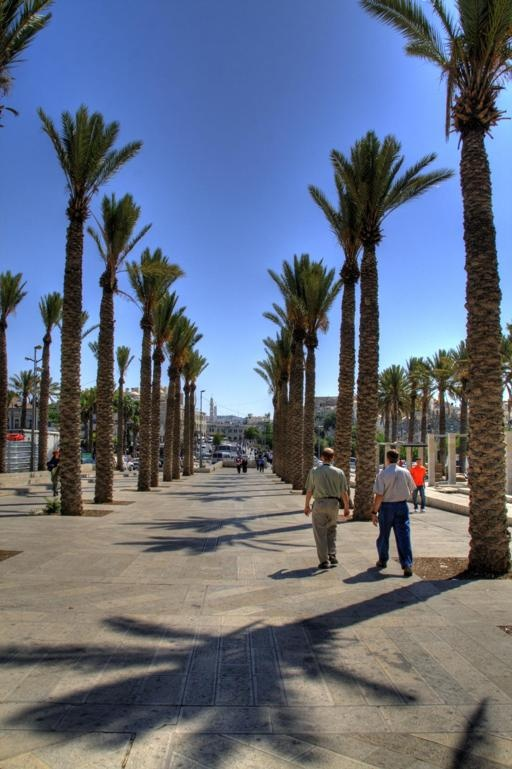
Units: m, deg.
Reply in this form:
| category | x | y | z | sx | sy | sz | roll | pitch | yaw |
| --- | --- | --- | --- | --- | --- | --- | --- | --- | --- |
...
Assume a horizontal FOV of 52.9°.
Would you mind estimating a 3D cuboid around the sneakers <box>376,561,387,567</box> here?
| category | x | y | z | sx | sy | sz | roll | pitch | yaw |
| --- | --- | --- | --- | --- | --- | --- | --- | --- | --- |
| sneakers | 1.662 | 2.389 | 6.835 | 0.085 | 0.055 | 0.128 | 1 | -11 | 2 |

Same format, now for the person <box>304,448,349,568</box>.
| category | x | y | z | sx | sy | sz | roll | pitch | yaw |
| --- | --- | --- | --- | --- | --- | --- | --- | --- | --- |
| person | 0.933 | 1.647 | 6.795 | 0.534 | 1.538 | 0.541 | -1 | -6 | 6 |

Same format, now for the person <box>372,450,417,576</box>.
| category | x | y | z | sx | sy | sz | roll | pitch | yaw |
| --- | --- | --- | --- | --- | --- | --- | --- | --- | --- |
| person | 1.800 | 1.656 | 6.758 | 0.515 | 1.569 | 0.888 | -1 | -6 | 15 |
